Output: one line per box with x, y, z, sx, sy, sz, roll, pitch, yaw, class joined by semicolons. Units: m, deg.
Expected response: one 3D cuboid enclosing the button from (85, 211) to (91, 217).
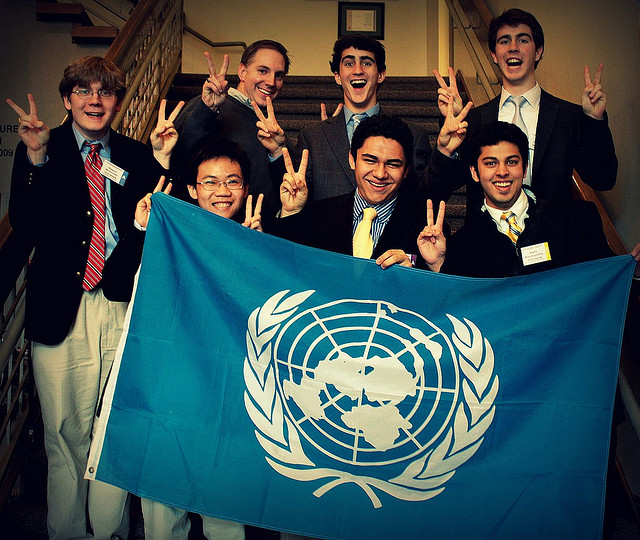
-1.068;-0.252;2.661;0.019;0.018;0.021;6;-11;-18;button

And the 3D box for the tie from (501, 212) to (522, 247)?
0.871;-0.183;2.621;0.067;0.140;0.037;16;-21;-36;tie

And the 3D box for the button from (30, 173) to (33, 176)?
-1.310;-0.428;2.628;0.009;0.010;0.002;4;0;-3;button

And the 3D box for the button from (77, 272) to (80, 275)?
-1.083;0.015;2.597;0.010;0.006;0.010;-6;-11;42;button

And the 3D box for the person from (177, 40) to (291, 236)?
-0.464;-0.561;3.321;0.496;1.429;0.419;8;10;-22;person

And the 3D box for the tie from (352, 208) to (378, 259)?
0.199;-0.170;2.638;0.108;0.181;0.080;4;2;8;tie

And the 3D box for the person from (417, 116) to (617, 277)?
0.881;-0.319;2.585;0.788;0.684;0.651;5;3;29;person

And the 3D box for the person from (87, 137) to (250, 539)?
-0.686;0.341;2.616;0.654;1.915;0.447;3;2;-11;person

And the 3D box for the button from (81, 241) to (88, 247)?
-1.070;-0.115;2.629;0.023;0.028;0.006;6;-3;-11;button

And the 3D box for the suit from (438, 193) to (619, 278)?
0.995;-0.162;2.809;0.792;0.282;0.461;-4;-23;36;suit

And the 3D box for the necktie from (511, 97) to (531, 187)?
1.047;-0.653;3.051;0.080;0.350;0.038;-28;16;-18;necktie

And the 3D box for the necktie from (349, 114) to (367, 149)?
0.210;-0.758;3.168;0.098;0.169;0.054;2;-7;7;necktie

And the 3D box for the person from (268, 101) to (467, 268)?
0.193;-0.303;2.855;0.749;0.933;0.294;2;-30;0;person
